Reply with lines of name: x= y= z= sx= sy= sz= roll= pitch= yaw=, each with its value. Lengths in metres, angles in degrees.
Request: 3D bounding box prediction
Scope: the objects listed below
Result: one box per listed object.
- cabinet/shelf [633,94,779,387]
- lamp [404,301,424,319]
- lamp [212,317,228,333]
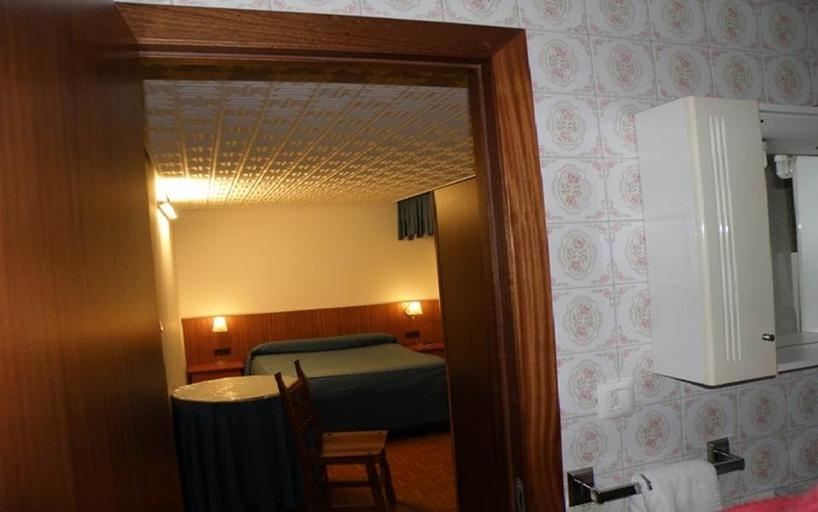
cabinet/shelf: x=0.965 y=-0.043 z=2.003 sx=0.373 sy=0.854 sz=0.300 roll=-5 pitch=1 yaw=-22
lamp: x=0.059 y=0.644 z=7.371 sx=0.205 sy=0.219 sz=0.246 roll=-3 pitch=1 yaw=14
lamp: x=-2.020 y=0.740 z=6.539 sx=0.179 sy=0.148 sz=0.169 roll=-1 pitch=-3 yaw=-8
